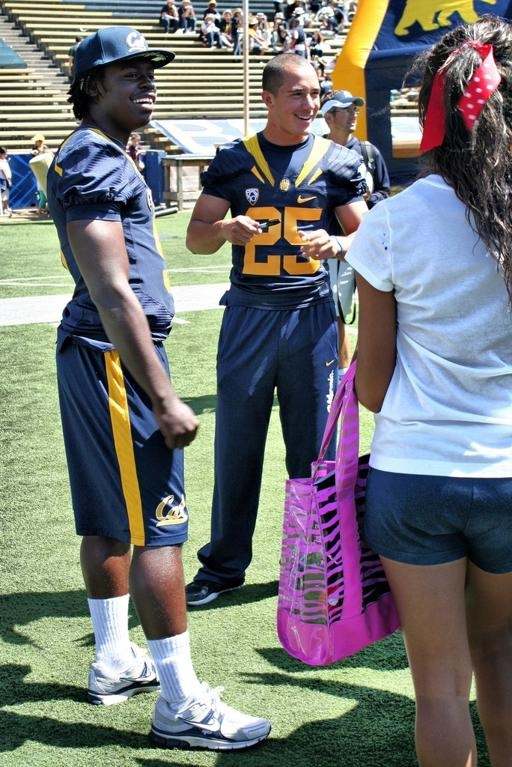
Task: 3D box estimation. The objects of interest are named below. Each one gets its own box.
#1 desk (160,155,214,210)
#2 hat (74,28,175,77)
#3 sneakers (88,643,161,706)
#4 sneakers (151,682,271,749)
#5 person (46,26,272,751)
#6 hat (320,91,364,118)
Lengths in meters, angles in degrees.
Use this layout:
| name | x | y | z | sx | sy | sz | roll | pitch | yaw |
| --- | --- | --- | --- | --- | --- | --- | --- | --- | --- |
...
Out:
| name | x | y | z | sx | sy | sz | roll | pitch | yaw |
| --- | --- | --- | --- | --- | --- | --- | --- | --- | --- |
| desk | -1.427 | -4.452 | 17.202 | 1.190 | 0.865 | 1.065 | -15 | 22 | -25 |
| hat | -0.340 | -0.809 | 1.968 | 0.226 | 0.092 | 0.148 | -1 | 15 | 13 |
| sneakers | -0.354 | 0.837 | 2.282 | 0.299 | 0.124 | 0.114 | 2 | -2 | -44 |
| sneakers | -0.118 | 0.866 | 2.071 | 0.347 | 0.135 | 0.129 | 2 | 1 | -5 |
| person | -0.277 | 0.018 | 2.015 | 0.446 | 1.804 | 0.605 | -6 | 16 | -15 |
| hat | 0.507 | -1.730 | 4.898 | 0.178 | 0.091 | 0.257 | -12 | 5 | -35 |
